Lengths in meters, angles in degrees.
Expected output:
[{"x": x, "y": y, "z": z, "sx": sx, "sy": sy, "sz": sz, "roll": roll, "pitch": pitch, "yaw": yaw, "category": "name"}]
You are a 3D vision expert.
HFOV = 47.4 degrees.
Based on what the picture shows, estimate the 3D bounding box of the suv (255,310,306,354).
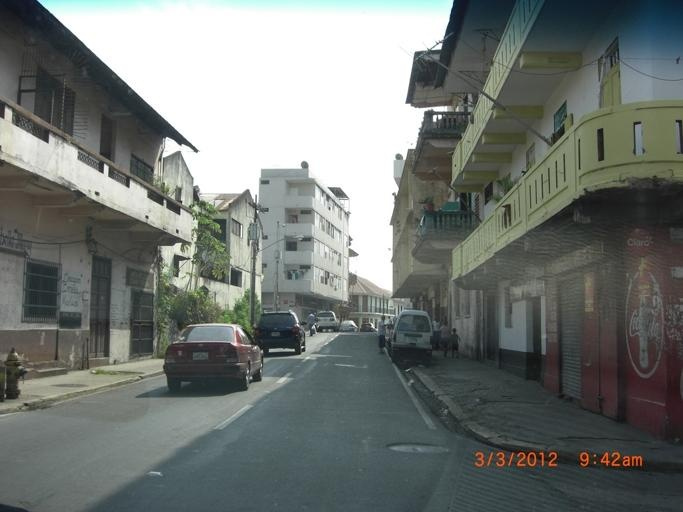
[{"x": -2.634, "y": 3.281, "z": 32.933, "sx": 1.956, "sy": 1.778, "sz": 0.890, "roll": 0, "pitch": 3, "yaw": -18, "category": "suv"}]

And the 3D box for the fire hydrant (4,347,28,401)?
[{"x": -7.837, "y": 2.851, "z": 18.720, "sx": 0.473, "sy": 1.652, "sz": 0.912, "roll": 0, "pitch": -6, "yaw": -8, "category": "fire hydrant"}]
